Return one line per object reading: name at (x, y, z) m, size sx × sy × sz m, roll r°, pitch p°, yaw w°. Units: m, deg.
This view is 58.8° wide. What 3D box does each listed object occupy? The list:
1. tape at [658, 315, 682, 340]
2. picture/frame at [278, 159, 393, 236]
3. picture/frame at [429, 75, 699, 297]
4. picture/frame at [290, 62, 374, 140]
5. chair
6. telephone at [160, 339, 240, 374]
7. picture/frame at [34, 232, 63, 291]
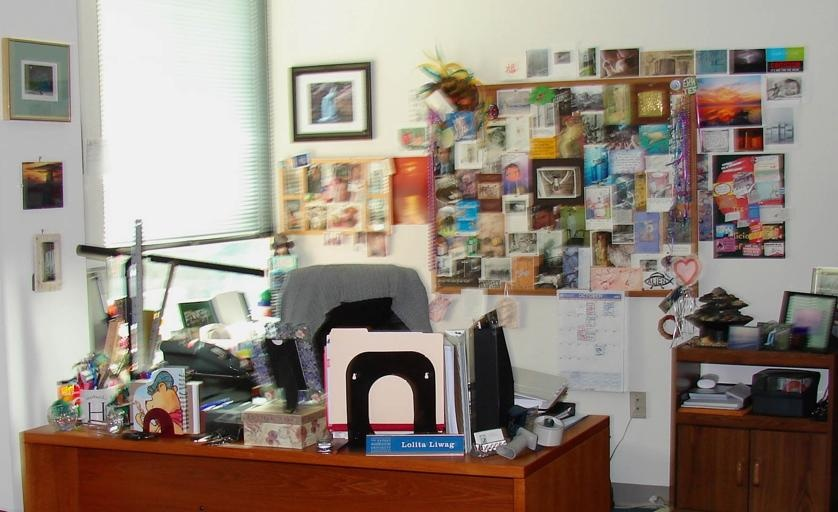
tape at (1.686, 0.471, 4.952) m, size 0.161 × 0.148 × 0.047 m, roll 2°, pitch -1°, yaw -4°
picture/frame at (-0.621, -0.441, 5.500) m, size 1.031 × 0.587 × 0.047 m, roll -4°, pitch 8°, yaw -38°
picture/frame at (1.085, -0.509, 5.112) m, size 1.694 × 1.196 × 0.068 m, roll 0°, pitch 0°, yaw 13°
picture/frame at (-0.617, -1.154, 5.431) m, size 0.635 × 0.506 × 0.066 m, roll 0°, pitch 1°, yaw 11°
chair at (-0.414, 0.405, 4.639) m, size 0.735 × 0.459 × 0.687 m, roll -2°, pitch -1°, yaw -11°
telephone at (-1.033, 0.473, 3.589) m, size 0.409 × 0.115 × 0.231 m, roll 8°, pitch 6°, yaw 12°
picture/frame at (-2.097, 0.034, 4.187) m, size 0.200 × 0.320 × 0.041 m, roll -3°, pitch -2°, yaw 17°
